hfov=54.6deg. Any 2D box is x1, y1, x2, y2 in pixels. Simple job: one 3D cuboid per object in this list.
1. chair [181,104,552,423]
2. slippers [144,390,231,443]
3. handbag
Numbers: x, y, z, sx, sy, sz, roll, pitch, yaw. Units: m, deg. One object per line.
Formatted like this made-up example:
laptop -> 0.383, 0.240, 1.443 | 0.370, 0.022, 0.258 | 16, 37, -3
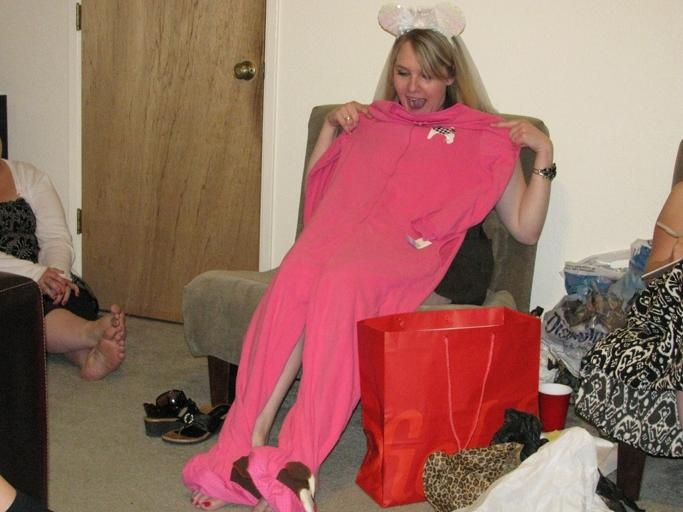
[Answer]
chair -> 0.043, 0.175, 2.360 | 1.025, 1.175, 1.029 | 4, 0, 43
slippers -> -0.518, 0.497, 2.152 | 0.149, 0.062, 0.206 | 3, -1, 34
handbag -> 0.295, 0.409, 1.838 | 0.532, 0.526, 0.138 | 1, 14, -19
